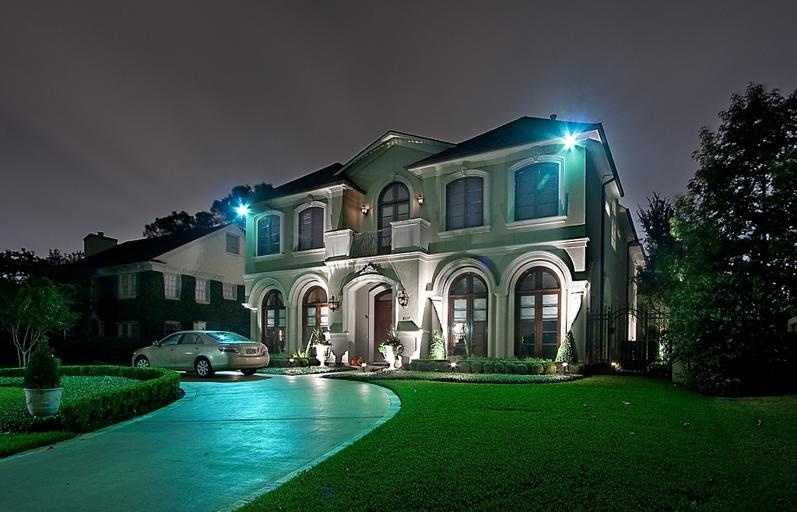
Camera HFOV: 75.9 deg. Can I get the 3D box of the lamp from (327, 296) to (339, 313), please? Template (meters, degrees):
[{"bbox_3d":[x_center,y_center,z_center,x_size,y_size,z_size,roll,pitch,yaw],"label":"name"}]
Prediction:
[{"bbox_3d":[-3.095,2.281,24.459,0.642,0.755,0.213,-8,-13,34],"label":"lamp"}]

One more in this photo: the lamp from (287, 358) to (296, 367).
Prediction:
[{"bbox_3d":[-4.851,4.870,23.202,0.298,0.332,0.334,-3,-6,42],"label":"lamp"}]

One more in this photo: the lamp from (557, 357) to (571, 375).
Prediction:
[{"bbox_3d":[6.240,4.099,19.140,0.524,0.766,0.519,0,-8,6],"label":"lamp"}]

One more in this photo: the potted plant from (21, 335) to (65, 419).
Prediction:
[{"bbox_3d":[-8.350,2.844,12.077,0.934,1.861,0.620,-5,-11,25],"label":"potted plant"}]

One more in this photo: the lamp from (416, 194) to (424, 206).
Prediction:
[{"bbox_3d":[1.060,-2.632,23.734,0.435,0.634,0.442,-1,0,-18],"label":"lamp"}]

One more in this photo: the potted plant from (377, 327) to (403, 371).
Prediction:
[{"bbox_3d":[-0.250,3.997,21.700,1.033,1.711,0.960,6,-6,-33],"label":"potted plant"}]

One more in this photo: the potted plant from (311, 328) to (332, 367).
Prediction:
[{"bbox_3d":[-3.694,4.331,24.111,1.013,1.653,0.734,-2,-10,7],"label":"potted plant"}]

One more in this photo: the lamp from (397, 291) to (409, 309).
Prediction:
[{"bbox_3d":[0.193,1.908,22.636,0.586,0.758,0.222,-3,-11,15],"label":"lamp"}]

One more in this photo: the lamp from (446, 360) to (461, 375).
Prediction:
[{"bbox_3d":[2.180,4.356,19.891,0.380,0.735,0.393,-1,-5,15],"label":"lamp"}]

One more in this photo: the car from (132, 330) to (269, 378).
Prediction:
[{"bbox_3d":[-7.781,3.880,20.191,4.685,1.767,1.325,-6,-12,23],"label":"car"}]
